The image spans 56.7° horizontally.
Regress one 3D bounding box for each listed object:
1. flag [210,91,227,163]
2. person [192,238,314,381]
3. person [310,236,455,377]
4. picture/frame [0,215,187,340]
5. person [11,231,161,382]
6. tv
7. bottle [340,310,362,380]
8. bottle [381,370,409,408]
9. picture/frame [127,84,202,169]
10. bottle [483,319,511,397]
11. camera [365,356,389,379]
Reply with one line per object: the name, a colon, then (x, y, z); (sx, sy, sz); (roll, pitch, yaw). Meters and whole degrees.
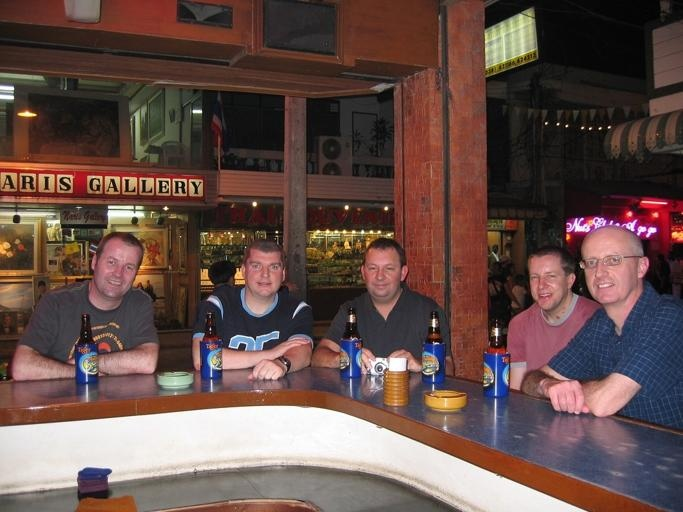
flag: (-1.924, -2.074, 9.925); (0.239, 0.205, 1.660); (5, -39, -7)
person: (-0.519, 0.327, 4.018); (0.749, 1.302, 0.818); (2, -3, -10)
person: (0.273, 0.357, 4.168); (0.929, 0.887, 0.528); (-3, -3, 6)
picture/frame: (-3.241, 0.192, 7.925); (2.038, 1.988, 0.728); (-1, 1, -14)
person: (-1.571, 0.442, 3.947); (0.835, 1.178, 0.689); (11, -4, -34)
tv: (1.695, -2.121, 6.328); (0.156, 0.531, 0.695); (-7, 12, -20)
bottle: (0.049, 0.489, 3.693); (0.130, 0.406, 0.184); (-4, 11, -7)
bottle: (0.271, 0.655, 3.212); (0.150, 0.176, 0.160); (2, 3, 43)
picture/frame: (-3.846, -2.887, 13.936); (0.121, 2.061, 3.390); (4, 2, -33)
bottle: (0.802, 0.510, 3.282); (0.130, 0.421, 0.211); (0, 11, 14)
camera: (0.214, 0.648, 3.647); (0.142, 0.109, 0.051); (-17, -1, 10)
